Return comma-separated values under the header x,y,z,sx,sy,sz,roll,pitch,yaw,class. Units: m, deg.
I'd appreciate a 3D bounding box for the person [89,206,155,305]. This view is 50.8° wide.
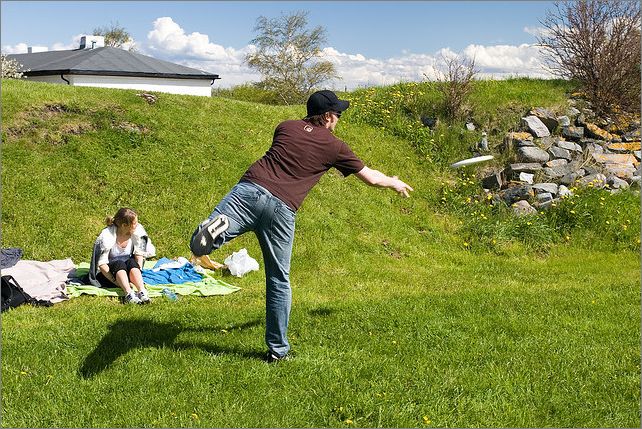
x,y,z,sx,sy,sz,roll,pitch,yaw,class
-4.386,0.860,14.612,1.391,1.972,0.856,-3,11,-12,person

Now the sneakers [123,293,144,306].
x,y,z,sx,sy,sz,roll,pitch,yaw,class
-4.065,1.804,14.471,0.480,0.202,0.180,-2,-2,34,sneakers

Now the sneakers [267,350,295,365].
x,y,z,sx,sy,sz,roll,pitch,yaw,class
-0.760,2.594,12.365,0.555,0.229,0.183,-3,-1,-5,sneakers

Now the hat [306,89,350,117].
x,y,z,sx,sy,sz,roll,pitch,yaw,class
0.113,-2.081,12.436,0.670,0.335,0.456,-8,24,-21,hat
